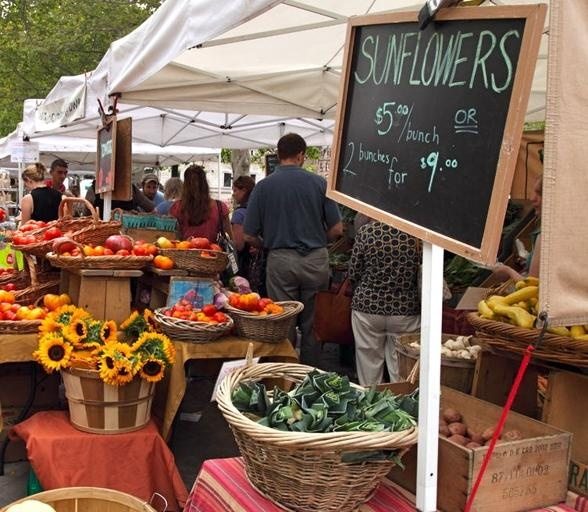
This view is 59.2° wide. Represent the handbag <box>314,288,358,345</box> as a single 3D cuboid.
[{"bbox_3d":[0.404,0.605,5.349,0.380,0.511,0.392,-7,17,-34],"label":"handbag"}]

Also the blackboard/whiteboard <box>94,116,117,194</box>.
[{"bbox_3d":[-1.905,-0.994,5.222,0.168,0.769,1.101,0,12,-22],"label":"blackboard/whiteboard"}]

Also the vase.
[{"bbox_3d":[-1.168,0.785,3.342,0.642,0.368,0.575,-3,12,-25],"label":"vase"}]

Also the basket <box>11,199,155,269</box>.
[{"bbox_3d":[-1.886,-0.239,4.273,1.000,0.466,0.625,0,12,-19],"label":"basket"}]

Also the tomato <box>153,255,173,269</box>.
[{"bbox_3d":[-1.022,0.053,4.038,0.154,0.099,0.127,2,11,-9],"label":"tomato"}]

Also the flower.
[{"bbox_3d":[-1.228,0.539,3.163,0.725,0.280,0.641,7,7,35],"label":"flower"}]

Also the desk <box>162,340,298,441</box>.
[{"bbox_3d":[-0.435,0.875,3.855,1.006,0.485,0.827,-9,-4,-10],"label":"desk"}]

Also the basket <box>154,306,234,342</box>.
[{"bbox_3d":[-0.697,0.443,3.590,0.466,0.209,0.380,-2,12,-27],"label":"basket"}]
